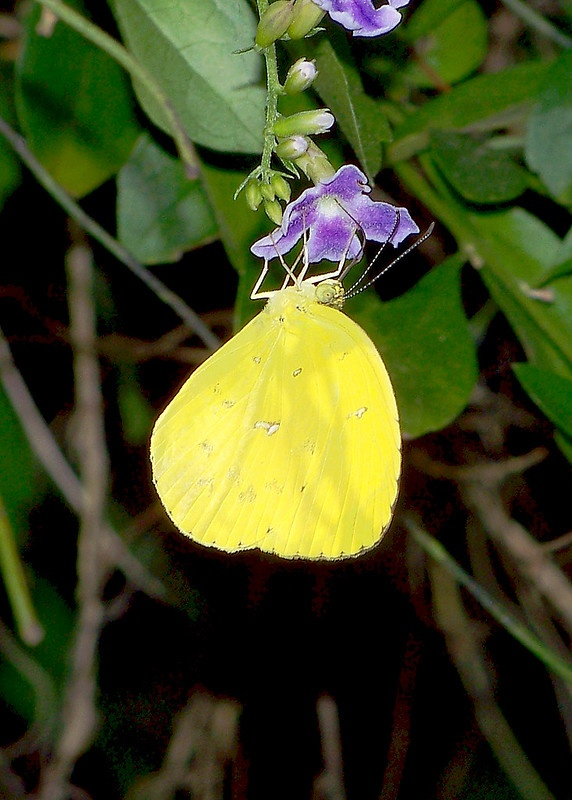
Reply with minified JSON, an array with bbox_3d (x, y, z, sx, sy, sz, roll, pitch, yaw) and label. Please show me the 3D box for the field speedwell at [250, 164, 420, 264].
[{"bbox_3d":[0.079,-0.297,1.306,0.236,0.141,0.203,-21,8,-1],"label":"field speedwell"}]
